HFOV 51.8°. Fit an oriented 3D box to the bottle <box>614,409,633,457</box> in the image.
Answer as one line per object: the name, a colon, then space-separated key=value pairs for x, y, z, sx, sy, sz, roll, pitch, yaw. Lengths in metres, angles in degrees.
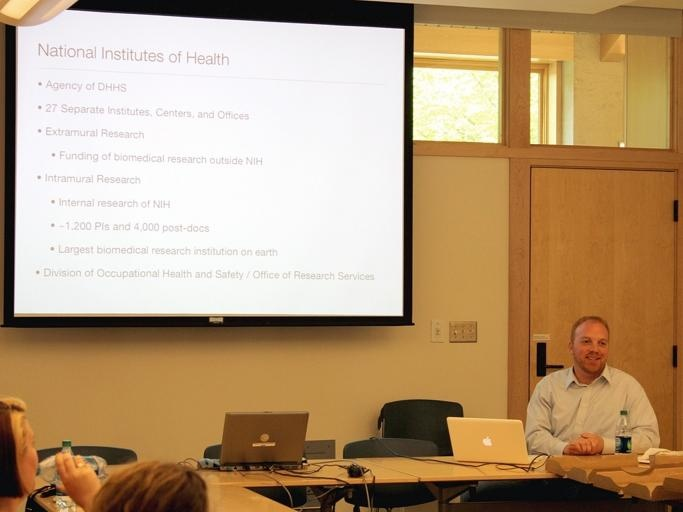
bottle: x=1.656 y=1.025 z=4.113 sx=0.095 sy=0.247 sz=0.454 roll=-3 pitch=-5 yaw=22

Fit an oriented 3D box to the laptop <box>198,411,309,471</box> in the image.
laptop: x=-0.417 y=0.986 z=3.720 sx=0.379 sy=0.253 sz=0.360 roll=4 pitch=-9 yaw=-15

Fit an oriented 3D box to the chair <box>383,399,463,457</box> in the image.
chair: x=0.548 y=1.187 z=4.889 sx=0.390 sy=0.509 sz=0.437 roll=1 pitch=-20 yaw=-5

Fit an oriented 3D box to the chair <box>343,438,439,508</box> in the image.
chair: x=0.299 y=1.347 z=4.478 sx=0.439 sy=0.576 sz=0.501 roll=1 pitch=-12 yaw=-5

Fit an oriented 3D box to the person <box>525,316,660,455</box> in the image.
person: x=1.550 y=0.965 z=4.369 sx=0.746 sy=1.121 sz=0.633 roll=0 pitch=-9 yaw=18

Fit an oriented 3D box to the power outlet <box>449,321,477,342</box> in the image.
power outlet: x=0.890 y=0.566 z=5.208 sx=0.148 sy=0.111 sz=0.021 roll=1 pitch=-5 yaw=-9
